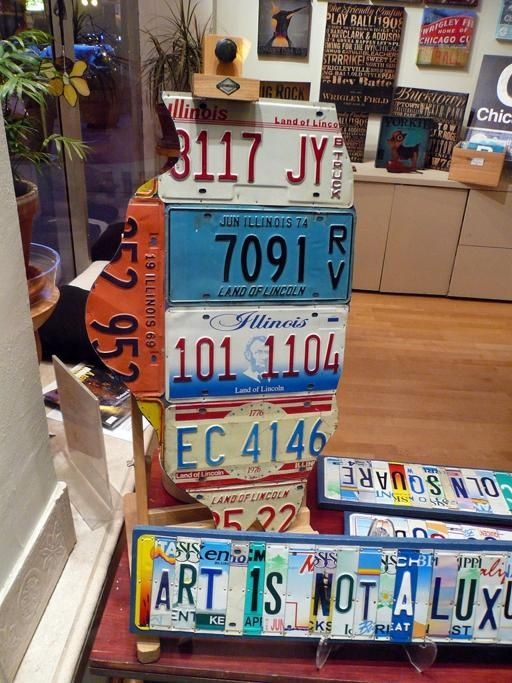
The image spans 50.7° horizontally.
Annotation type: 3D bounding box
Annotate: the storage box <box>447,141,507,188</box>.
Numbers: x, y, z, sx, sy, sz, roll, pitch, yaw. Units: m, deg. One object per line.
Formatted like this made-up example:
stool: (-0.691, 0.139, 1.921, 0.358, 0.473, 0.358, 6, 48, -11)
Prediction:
storage box: (1.398, -1.120, 3.414, 0.323, 0.238, 0.304, 15, 33, 18)
